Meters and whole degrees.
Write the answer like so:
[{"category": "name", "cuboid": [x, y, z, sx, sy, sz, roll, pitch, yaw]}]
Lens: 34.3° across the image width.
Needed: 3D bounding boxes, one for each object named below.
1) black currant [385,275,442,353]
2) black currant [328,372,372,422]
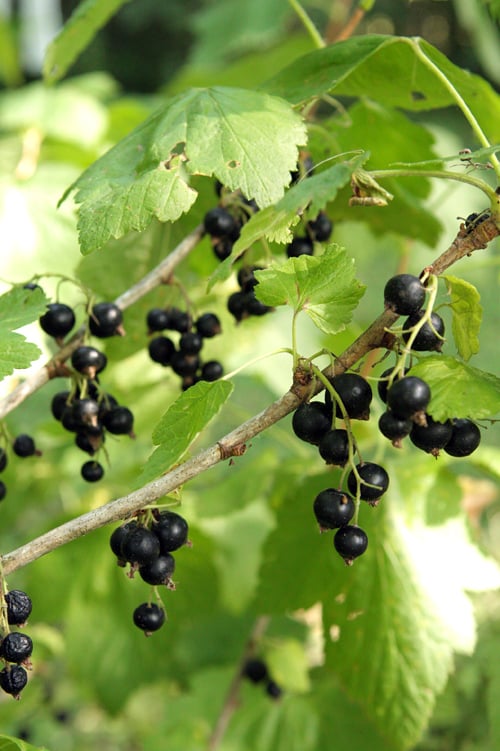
[{"category": "black currant", "cuboid": [0.194, -0.067, 0.920, 0.057, 0.090, 0.045, 5, 39, 49]}, {"category": "black currant", "cuboid": [0.107, 0.024, 0.870, 0.037, 0.047, 0.034, -11, 31, -15]}]
